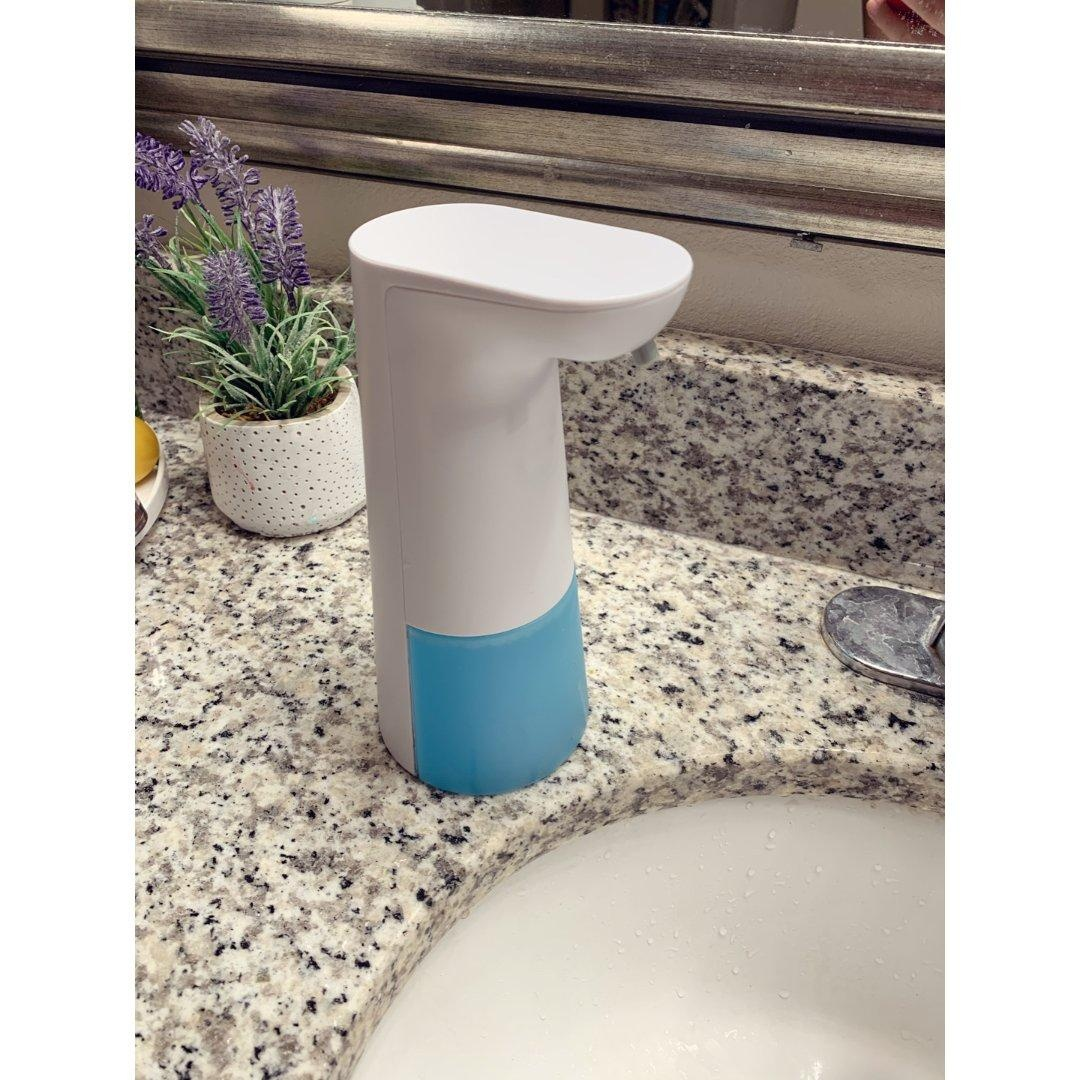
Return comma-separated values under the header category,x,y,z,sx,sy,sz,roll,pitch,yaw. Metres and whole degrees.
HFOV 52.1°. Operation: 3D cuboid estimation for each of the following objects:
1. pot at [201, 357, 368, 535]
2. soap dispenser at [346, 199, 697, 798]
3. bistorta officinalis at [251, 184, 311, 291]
category,x,y,z,sx,sy,sz,roll,pitch,yaw
pot,-0.169,-0.049,0.732,0.102,0.119,0.060,-4,32,-12
soap dispenser,-0.022,-0.009,0.545,0.114,0.288,0.147,-23,40,-35
bistorta officinalis,-0.156,-0.180,0.658,0.030,0.060,0.038,22,36,29
